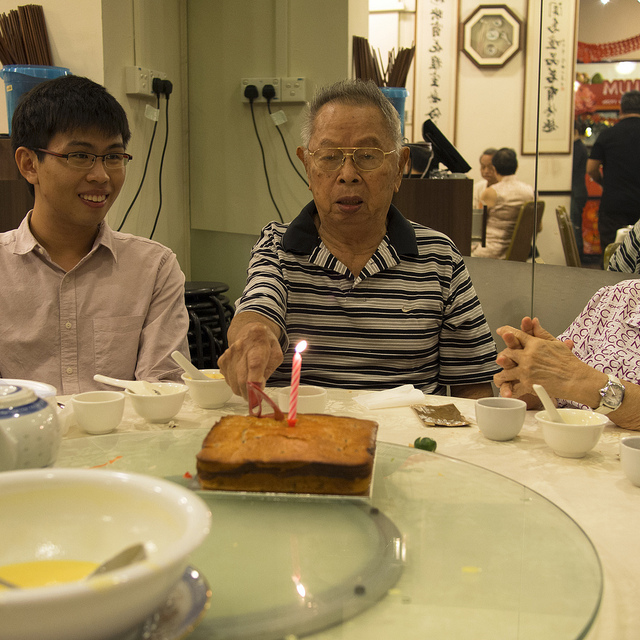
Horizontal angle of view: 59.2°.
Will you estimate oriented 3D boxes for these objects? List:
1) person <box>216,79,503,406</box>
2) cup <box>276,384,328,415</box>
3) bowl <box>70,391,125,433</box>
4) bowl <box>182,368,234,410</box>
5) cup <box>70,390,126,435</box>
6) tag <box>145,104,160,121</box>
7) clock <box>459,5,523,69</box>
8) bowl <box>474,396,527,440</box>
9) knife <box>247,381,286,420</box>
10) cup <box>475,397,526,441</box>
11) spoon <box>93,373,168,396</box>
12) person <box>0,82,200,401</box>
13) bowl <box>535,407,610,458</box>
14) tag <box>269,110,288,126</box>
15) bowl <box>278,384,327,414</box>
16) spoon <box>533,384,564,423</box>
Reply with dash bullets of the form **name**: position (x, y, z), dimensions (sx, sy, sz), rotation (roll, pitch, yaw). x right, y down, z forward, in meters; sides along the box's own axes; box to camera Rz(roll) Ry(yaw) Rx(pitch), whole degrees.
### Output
- **person**: position (0.130, -0.258, 1.901), dimensions (0.929, 1.032, 0.407), rotation (0, 6, -23)
- **cup**: position (-0.040, 0.160, 1.251), dimensions (0.079, 0.066, 0.090), rotation (-1, 0, 0)
- **bowl**: position (-0.456, 0.192, 1.159), dimensions (0.101, 0.075, 0.105), rotation (2, 4, 0)
- **bowl**: position (-0.257, 0.165, 1.368), dimensions (0.126, 0.080, 0.119), rotation (0, 6, 0)
- **cup**: position (-0.451, 0.186, 1.159), dimensions (0.084, 0.063, 0.091), rotation (0, -6, 0)
- **tag**: position (-1.019, -1.261, 3.399), dimensions (0.017, 0.086, 0.116), rotation (2, 9, 30)
- **clock**: position (0.847, -1.388, 2.739), dimensions (0.358, 0.348, 0.028), rotation (9, 9, 43)
- **bowl**: position (0.378, 0.208, 1.172), dimensions (0.101, 0.076, 0.107), rotation (-1, 4, 0)
- **knife**: position (-0.113, 0.167, 1.163), dimensions (0.121, 0.022, 0.150), rotation (25, -7, 9)
- **cup**: position (0.374, 0.209, 1.176), dimensions (0.105, 0.079, 0.108), rotation (0, 5, 0)
- **spoon**: position (-0.499, 0.168, 1.484), dimensions (0.105, 0.020, 0.077), rotation (13, 11, -1)
- **person**: position (-0.740, -0.264, 1.868), dimensions (0.595, 1.016, 0.328), rotation (1, 6, -14)
- **bowl**: position (0.492, 0.219, 1.089), dimensions (0.121, 0.076, 0.125), rotation (4, 1, 0)
- **tag**: position (-0.273, -1.294, 3.573), dimensions (0.134, 0.095, 0.051), rotation (5, 6, 29)
- **bowl**: position (-0.037, 0.167, 1.285), dimensions (0.070, 0.060, 0.078), rotation (-1, 2, -1)
- **spoon**: position (0.509, 0.183, 1.255), dimensions (0.021, 0.097, 0.017), rotation (-23, -14, -10)
